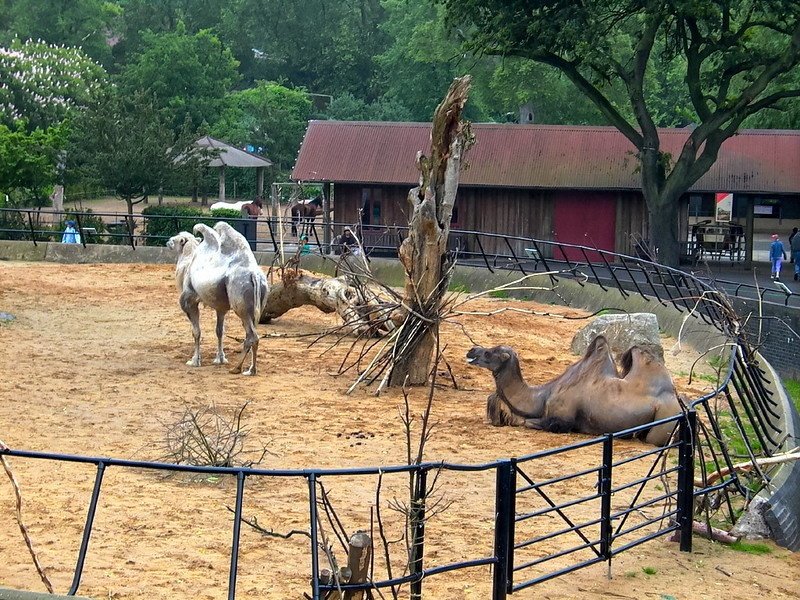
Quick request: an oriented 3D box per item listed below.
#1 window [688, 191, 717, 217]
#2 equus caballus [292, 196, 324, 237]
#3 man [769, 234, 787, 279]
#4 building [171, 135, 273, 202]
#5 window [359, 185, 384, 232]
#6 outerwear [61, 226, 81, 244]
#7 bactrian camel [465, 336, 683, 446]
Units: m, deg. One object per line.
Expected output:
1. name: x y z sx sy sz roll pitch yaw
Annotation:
1. window: 12.565 -3.966 61.035 0.582 1.159 1.127 1 0 -12
2. equus caballus: -4.035 -3.779 63.768 1.577 1.156 0.371 -7 22 -26
3. man: 13.048 -1.460 50.857 0.511 1.543 0.691 2 8 12
4. building: -7.928 -6.135 67.800 4.118 2.190 4.327 -4 4 22
5. window: -1.098 -3.585 57.839 0.915 2.049 0.158 2 -34 -4
6. outerwear: -11.902 -2.324 53.340 0.622 0.598 0.194 2 -3 3
7. bactrian camel: 4.191 2.264 34.908 5.179 2.540 1.714 6 -8 -4
